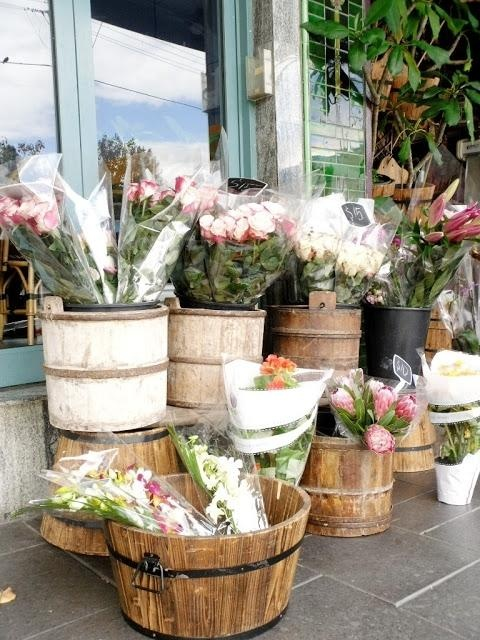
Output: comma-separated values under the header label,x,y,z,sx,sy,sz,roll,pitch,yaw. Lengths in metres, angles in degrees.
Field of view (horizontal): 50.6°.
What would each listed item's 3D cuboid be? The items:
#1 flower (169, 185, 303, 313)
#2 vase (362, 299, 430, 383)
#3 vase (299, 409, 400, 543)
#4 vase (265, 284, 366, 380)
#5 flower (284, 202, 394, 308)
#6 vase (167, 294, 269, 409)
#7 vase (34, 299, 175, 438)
label,x,y,z,sx,sy,sz,roll,pitch,yaw
flower,-0.084,-0.275,1.974,0.449,0.469,0.463,10,31,-15
vase,0.717,0.096,2.325,0.320,0.310,0.298,1,5,22
vase,0.367,0.562,1.778,0.336,0.299,0.298,1,2,-17
vase,0.264,0.051,1.952,0.340,0.297,0.315,1,0,-6
flower,0.423,-0.280,2.277,0.505,0.470,0.443,5,4,-19
vase,-0.112,0.129,1.911,0.410,0.366,0.331,1,6,-9
vase,-0.396,0.122,1.610,0.392,0.366,0.382,-3,4,-37
